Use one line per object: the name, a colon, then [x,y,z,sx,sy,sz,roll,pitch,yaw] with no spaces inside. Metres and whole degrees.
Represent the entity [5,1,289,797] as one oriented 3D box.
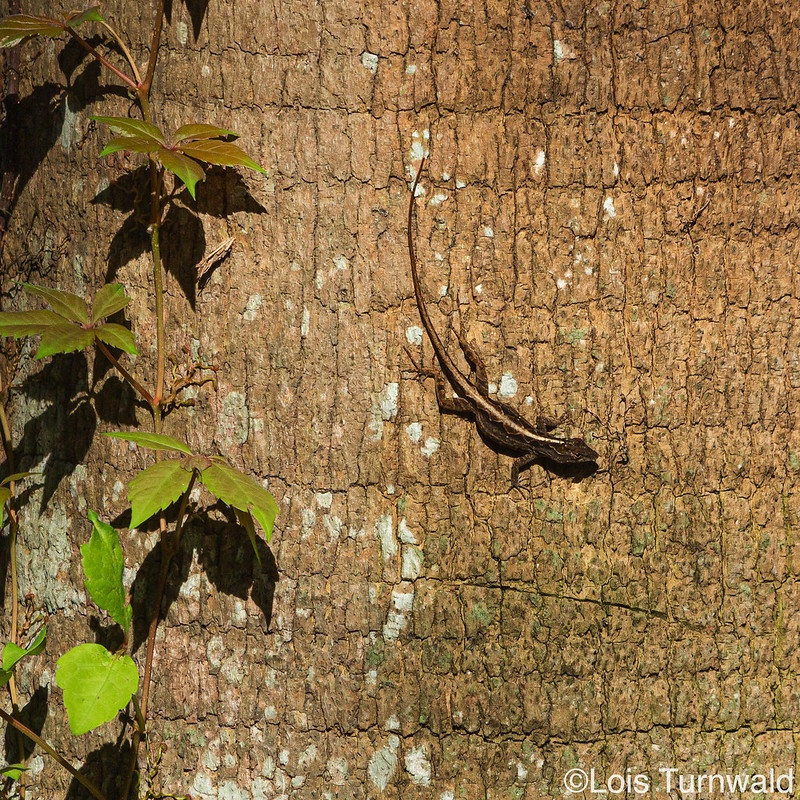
entity: [-0.888,-0.004,5.749,0.949,2.725,0.593,1,-1,-2]
